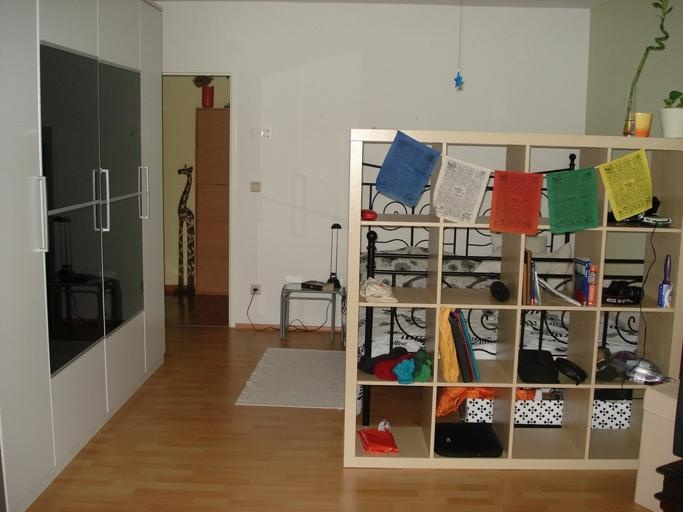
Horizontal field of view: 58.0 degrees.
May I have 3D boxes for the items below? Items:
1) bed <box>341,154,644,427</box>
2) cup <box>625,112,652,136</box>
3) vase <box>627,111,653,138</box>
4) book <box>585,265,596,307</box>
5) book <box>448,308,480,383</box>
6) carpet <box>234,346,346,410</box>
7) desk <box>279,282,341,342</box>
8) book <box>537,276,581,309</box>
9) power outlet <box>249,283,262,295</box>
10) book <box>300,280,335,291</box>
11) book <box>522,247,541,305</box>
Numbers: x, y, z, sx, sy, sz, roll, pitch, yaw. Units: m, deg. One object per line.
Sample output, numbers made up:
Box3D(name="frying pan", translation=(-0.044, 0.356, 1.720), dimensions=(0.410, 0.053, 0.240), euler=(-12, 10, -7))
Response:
Box3D(name="bed", translation=(0.957, 0.264, 3.803), dimensions=(1.724, 1.753, 0.532), euler=(0, 12, -1))
Box3D(name="cup", translation=(1.653, -0.752, 3.497), dimensions=(0.123, 0.135, 0.134), euler=(3, 6, 0))
Box3D(name="vase", translation=(1.678, -0.748, 3.485), dimensions=(0.128, 0.147, 0.128), euler=(8, 7, 40))
Box3D(name="book", translation=(1.383, 0.158, 3.437), dimensions=(0.057, 0.221, 0.050), euler=(2, 12, 5))
Box3D(name="book", translation=(0.681, 0.510, 3.481), dimensions=(0.075, 0.345, 0.324), euler=(-9, -3, 4))
Box3D(name="carpet", translation=(-0.331, 0.899, 4.621), dimensions=(0.724, 0.037, 1.035), euler=(1, 13, 2))
Box3D(name="desk", translation=(-0.281, 0.385, 5.627), dimensions=(0.574, 0.523, 0.469), euler=(2, 15, 4))
Box3D(name="book", translation=(1.223, 0.202, 3.526), dimensions=(0.180, 0.046, 0.168), euler=(21, -3, 6))
Box3D(name="power outlet", translation=(-0.804, 0.295, 5.740), dimensions=(0.092, 0.094, 0.031), euler=(1, 10, -1))
Box3D(name="book", translation=(-0.209, 0.267, 5.445), dimensions=(0.295, 0.061, 0.119), euler=(0, 13, -3))
Box3D(name="book", translation=(1.077, 0.100, 3.499), dimensions=(0.108, 0.300, 0.223), euler=(4, 13, 18))
